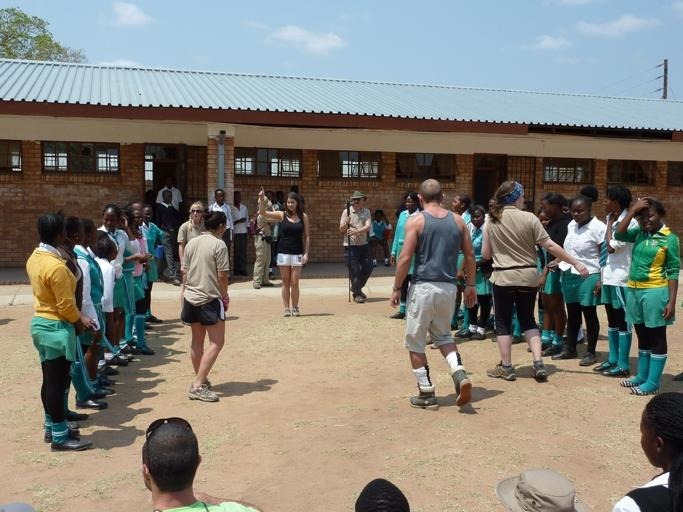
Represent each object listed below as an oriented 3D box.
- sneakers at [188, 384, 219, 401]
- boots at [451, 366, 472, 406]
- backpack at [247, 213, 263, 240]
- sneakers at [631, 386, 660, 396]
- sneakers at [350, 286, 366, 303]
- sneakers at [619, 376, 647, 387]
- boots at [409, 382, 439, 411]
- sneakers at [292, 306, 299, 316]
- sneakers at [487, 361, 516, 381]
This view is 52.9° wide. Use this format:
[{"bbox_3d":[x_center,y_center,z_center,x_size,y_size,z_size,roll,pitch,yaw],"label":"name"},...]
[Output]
[{"bbox_3d":[-1.632,1.614,8.176,0.425,0.226,0.172,3,9,4],"label":"sneakers"},{"bbox_3d":[1.294,1.427,7.364,0.170,0.396,0.283,-1,8,0],"label":"boots"},{"bbox_3d":[-1.742,-0.633,14.638,0.315,0.479,0.443,-3,-14,-24],"label":"backpack"},{"bbox_3d":[3.484,1.547,7.850,0.248,0.062,0.122,0,3,9],"label":"sneakers"},{"bbox_3d":[0.326,0.792,13.818,0.158,0.199,0.457,-2,3,-18],"label":"sneakers"},{"bbox_3d":[3.447,1.474,8.064,0.252,0.103,0.094,0,4,8],"label":"sneakers"},{"bbox_3d":[0.930,1.572,7.655,0.161,0.306,0.414,-1,4,-43],"label":"boots"},{"bbox_3d":[-0.807,0.975,12.120,0.092,0.159,0.162,0,-4,-7],"label":"sneakers"},{"bbox_3d":[1.987,1.411,8.498,0.159,0.191,0.377,-6,9,-35],"label":"sneakers"}]
